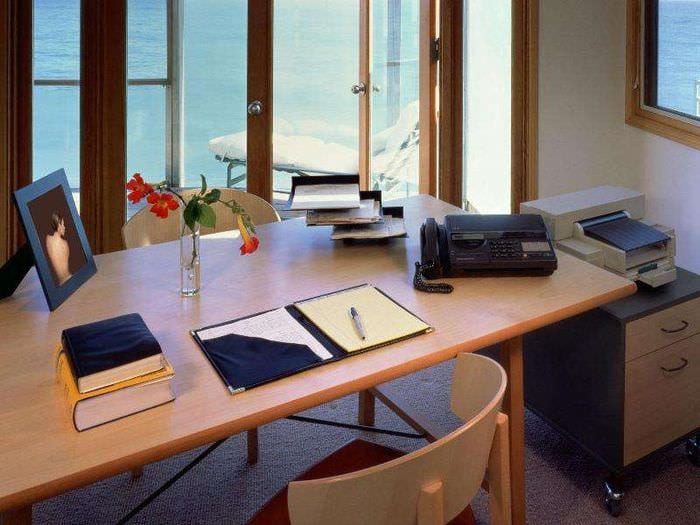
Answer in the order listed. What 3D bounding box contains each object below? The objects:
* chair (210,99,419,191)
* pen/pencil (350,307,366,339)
[{"bbox_3d":[-0.178,-0.946,3.926,1.106,0.626,0.652,8,28,-3],"label":"chair"},{"bbox_3d":[0.019,0.158,1.454,0.022,0.026,0.095,3,29,-13],"label":"pen/pencil"}]
